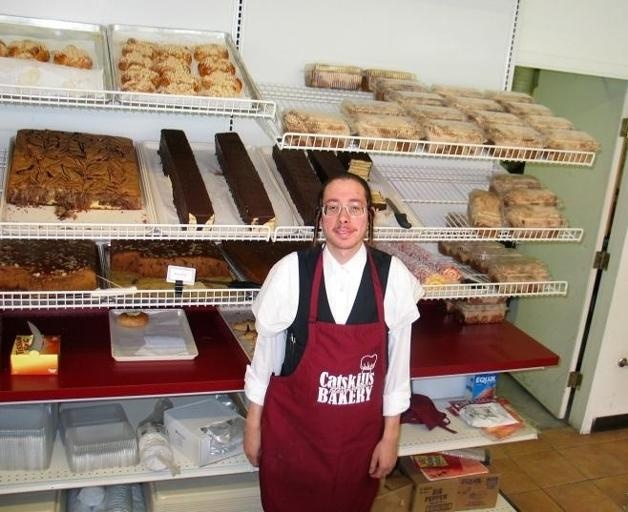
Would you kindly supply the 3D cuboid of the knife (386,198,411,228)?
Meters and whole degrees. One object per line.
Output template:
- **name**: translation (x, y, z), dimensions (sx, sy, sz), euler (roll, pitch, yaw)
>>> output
- **knife**: translation (0.414, -0.208, 2.503), dimensions (0.060, 0.009, 0.204), euler (-16, 47, -8)
